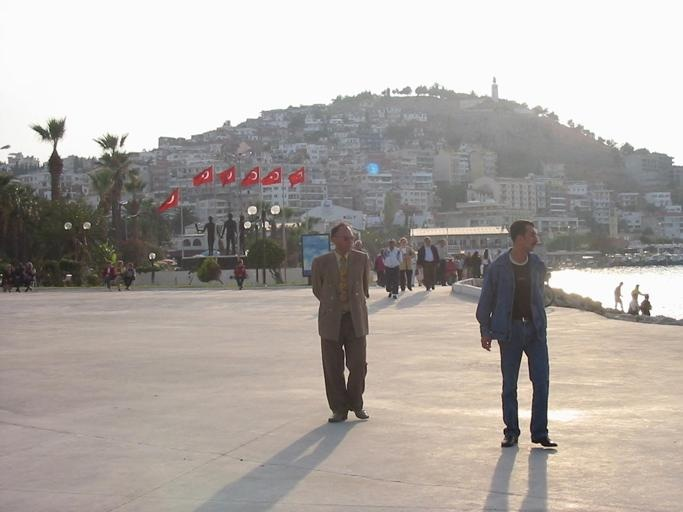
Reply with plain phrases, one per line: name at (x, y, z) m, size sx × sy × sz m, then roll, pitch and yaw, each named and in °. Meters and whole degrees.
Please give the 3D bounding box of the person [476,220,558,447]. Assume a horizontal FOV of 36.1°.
person at (1.749, 0.754, 10.416) m, size 0.741 × 2.229 × 0.475 m, roll -1°, pitch 0°, yaw 9°

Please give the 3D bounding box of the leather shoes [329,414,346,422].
leather shoes at (-0.012, 1.735, 11.222) m, size 0.253 × 0.080 × 0.093 m, roll -1°, pitch 0°, yaw -33°

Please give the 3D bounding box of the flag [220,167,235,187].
flag at (-6.992, -4.999, 64.667) m, size 0.897 × 1.071 × 1.437 m, roll -1°, pitch 0°, yaw -11°

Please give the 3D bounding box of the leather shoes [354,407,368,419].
leather shoes at (0.231, 1.704, 11.394) m, size 0.158 × 0.126 × 0.217 m, roll -1°, pitch 0°, yaw 1°

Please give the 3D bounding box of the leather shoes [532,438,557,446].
leather shoes at (2.009, 1.827, 10.268) m, size 0.245 × 0.111 × 0.093 m, roll -2°, pitch -2°, yaw 30°

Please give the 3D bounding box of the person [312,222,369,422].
person at (0.033, 0.706, 11.462) m, size 0.640 × 2.033 × 0.542 m, roll -1°, pitch 0°, yaw -11°

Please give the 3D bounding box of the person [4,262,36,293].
person at (-13.222, 0.842, 43.042) m, size 1.205 × 1.009 × 3.117 m, roll -1°, pitch 0°, yaw -19°

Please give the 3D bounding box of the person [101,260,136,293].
person at (-10.159, 0.927, 47.591) m, size 0.878 × 1.340 × 0.469 m, roll 2°, pitch 3°, yaw 4°
